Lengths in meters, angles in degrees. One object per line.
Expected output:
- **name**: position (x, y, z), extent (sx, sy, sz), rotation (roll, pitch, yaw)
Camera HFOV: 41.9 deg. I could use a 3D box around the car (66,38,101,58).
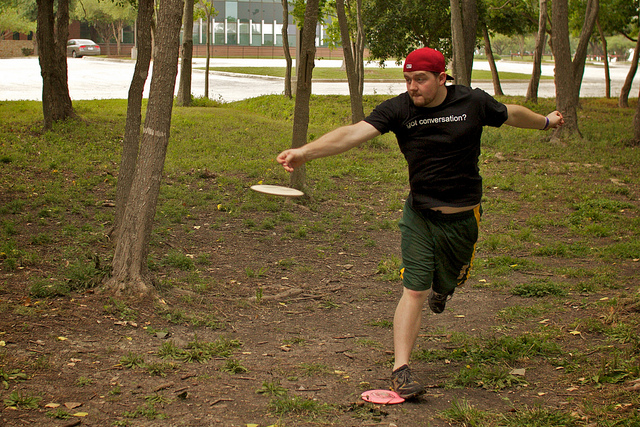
- **car**: position (-19.034, -13.208, 66.798), extent (2.388, 1.414, 2.327), rotation (-3, 11, -19)
